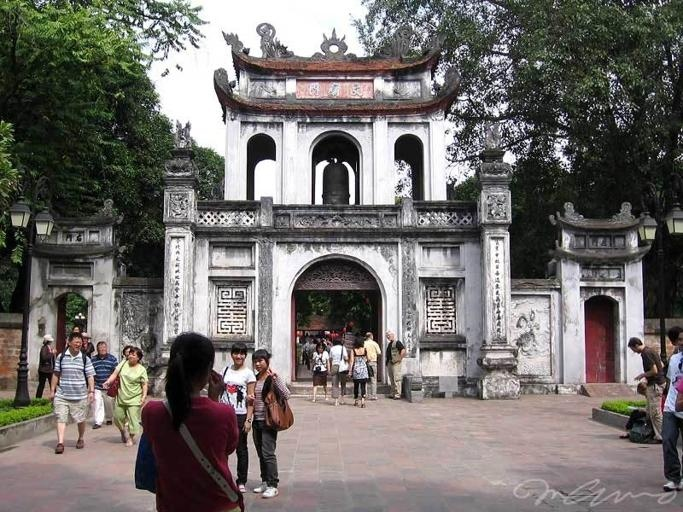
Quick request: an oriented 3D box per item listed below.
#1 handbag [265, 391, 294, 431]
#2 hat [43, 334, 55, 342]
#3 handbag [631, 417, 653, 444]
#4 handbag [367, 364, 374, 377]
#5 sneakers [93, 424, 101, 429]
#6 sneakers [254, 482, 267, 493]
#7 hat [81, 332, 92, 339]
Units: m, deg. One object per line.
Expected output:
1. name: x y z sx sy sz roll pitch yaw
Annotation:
1. handbag: -0.981 2.379 12.466 0.257 0.773 0.525 -19 -25 28
2. hat: -7.344 2.027 19.641 0.212 0.113 0.298 -2 1 -37
3. handbag: 5.908 3.400 15.414 0.250 0.472 0.350 21 -21 -13
4. handbag: 0.744 2.926 20.285 0.159 0.331 0.338 -6 -6 6
5. sneakers: -5.295 3.655 17.008 0.186 0.076 0.063 -8 -9 34
6. sneakers: -1.264 3.687 12.577 0.317 0.132 0.109 -3 -15 10
7. hat: -6.855 2.108 21.039 0.209 0.106 0.287 4 -4 -2
